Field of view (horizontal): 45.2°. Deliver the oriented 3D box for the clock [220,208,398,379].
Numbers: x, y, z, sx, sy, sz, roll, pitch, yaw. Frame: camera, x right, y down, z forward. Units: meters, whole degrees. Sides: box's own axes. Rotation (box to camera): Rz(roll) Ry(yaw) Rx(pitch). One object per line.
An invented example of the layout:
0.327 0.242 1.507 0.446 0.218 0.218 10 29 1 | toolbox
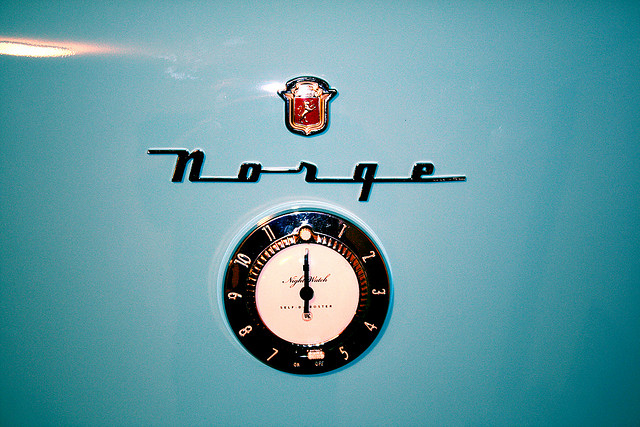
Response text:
-0.055 0.343 3.730 0.788 0.211 0.858 3 -68 1 | clock
